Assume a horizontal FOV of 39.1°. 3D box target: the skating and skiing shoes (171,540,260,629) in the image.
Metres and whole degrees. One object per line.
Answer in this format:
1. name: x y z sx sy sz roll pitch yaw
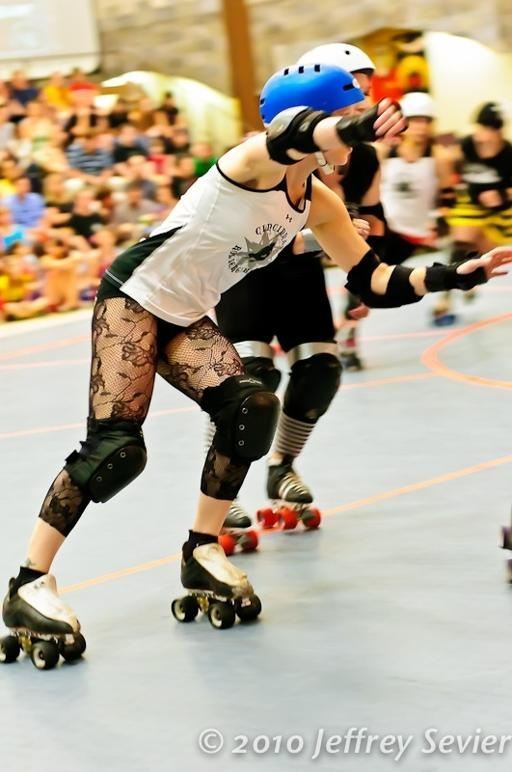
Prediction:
1. skating and skiing shoes: -0.095 0.475 1.832 0.264 0.213 0.150 4 9 39

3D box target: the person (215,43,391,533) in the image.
1. person: 0.106 -0.267 2.450 0.569 1.627 0.719 -5 17 -17

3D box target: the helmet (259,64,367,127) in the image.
1. helmet: 0.098 -0.680 1.684 0.148 0.135 0.305 -26 34 -24

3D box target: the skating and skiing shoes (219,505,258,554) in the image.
1. skating and skiing shoes: -0.064 0.463 2.298 0.098 0.097 0.167 -1 -4 -14

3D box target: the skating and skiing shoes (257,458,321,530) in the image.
1. skating and skiing shoes: 0.111 0.395 2.566 0.137 0.243 0.356 4 -7 -16
